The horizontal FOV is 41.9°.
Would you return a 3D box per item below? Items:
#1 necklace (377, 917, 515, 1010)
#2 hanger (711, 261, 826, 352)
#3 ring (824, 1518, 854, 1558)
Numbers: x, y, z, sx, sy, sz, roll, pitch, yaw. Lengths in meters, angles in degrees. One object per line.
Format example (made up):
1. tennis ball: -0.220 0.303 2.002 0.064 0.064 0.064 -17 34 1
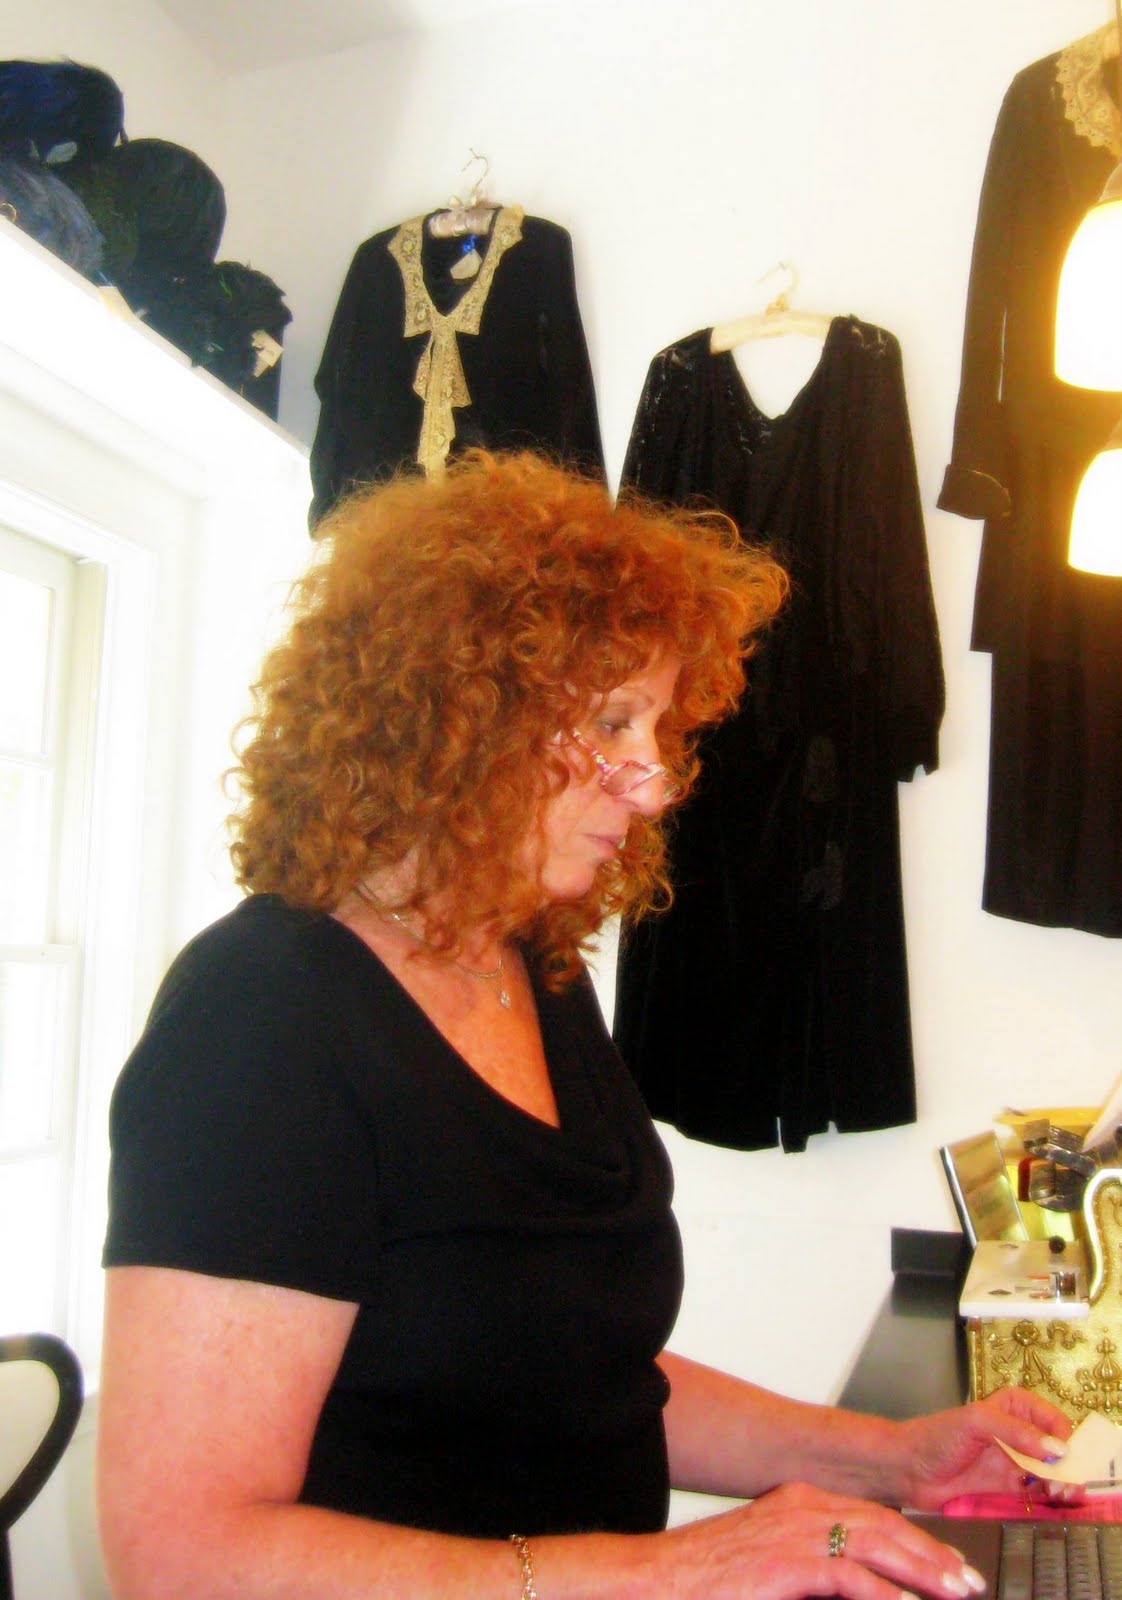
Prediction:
1. necklace: -0.082 0.111 0.992 0.022 0.080 0.018 -40 -3 -34
2. hanger: 0.307 -0.712 2.116 0.220 0.107 0.012 3 -6 32
3. ring: 0.159 0.424 0.838 0.013 0.010 0.022 -1 -2 10
